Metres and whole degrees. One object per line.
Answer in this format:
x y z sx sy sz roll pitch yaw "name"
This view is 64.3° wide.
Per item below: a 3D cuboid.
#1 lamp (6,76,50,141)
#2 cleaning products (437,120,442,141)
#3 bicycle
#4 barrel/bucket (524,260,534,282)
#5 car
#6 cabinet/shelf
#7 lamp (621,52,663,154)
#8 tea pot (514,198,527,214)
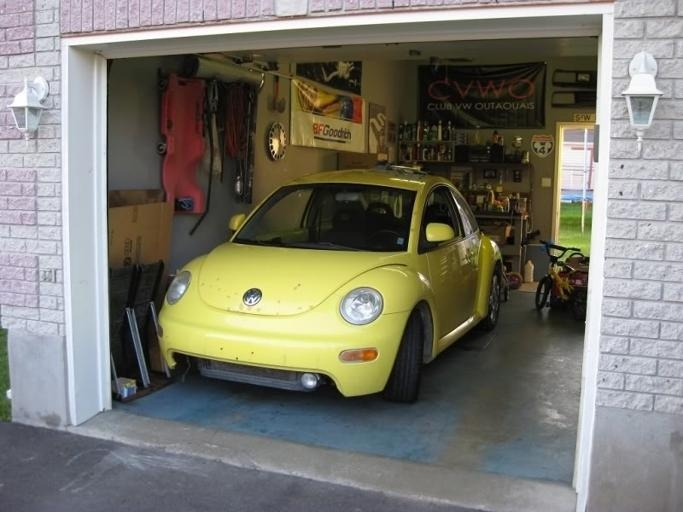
-2.115 -1.000 3.682 0.201 0.433 0.179 4 10 18 "lamp"
1.989 -2.496 11.123 0.096 0.305 0.070 5 10 22 "cleaning products"
3.048 0.301 7.563 0.636 0.943 1.002 5 11 22 "bicycle"
3.469 0.294 10.102 0.182 0.398 0.638 4 11 19 "barrel/bucket"
0.233 0.183 4.642 1.621 1.168 2.646 2 6 29 "car"
3.055 -1.234 11.390 1.643 1.663 3.097 2 4 30 "cabinet/shelf"
1.515 -0.793 2.750 0.194 0.515 0.176 4 0 13 "lamp"
3.433 -0.951 10.492 0.185 0.197 0.311 4 40 21 "tea pot"
